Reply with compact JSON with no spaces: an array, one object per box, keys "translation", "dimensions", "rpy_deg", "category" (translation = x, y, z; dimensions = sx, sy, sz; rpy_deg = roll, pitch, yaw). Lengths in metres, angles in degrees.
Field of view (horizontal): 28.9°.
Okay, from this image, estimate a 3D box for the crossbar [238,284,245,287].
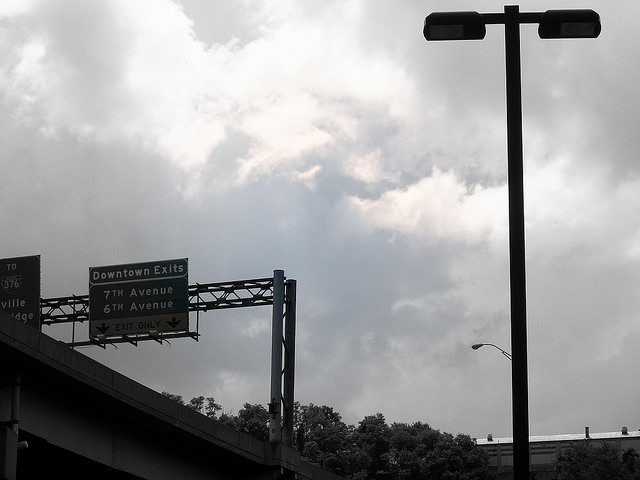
[{"translation":[-4.043,2.198,63.884],"dimensions":[0.346,0.075,0.093],"rpy_deg":[-2,1,2],"category":"crossbar"}]
